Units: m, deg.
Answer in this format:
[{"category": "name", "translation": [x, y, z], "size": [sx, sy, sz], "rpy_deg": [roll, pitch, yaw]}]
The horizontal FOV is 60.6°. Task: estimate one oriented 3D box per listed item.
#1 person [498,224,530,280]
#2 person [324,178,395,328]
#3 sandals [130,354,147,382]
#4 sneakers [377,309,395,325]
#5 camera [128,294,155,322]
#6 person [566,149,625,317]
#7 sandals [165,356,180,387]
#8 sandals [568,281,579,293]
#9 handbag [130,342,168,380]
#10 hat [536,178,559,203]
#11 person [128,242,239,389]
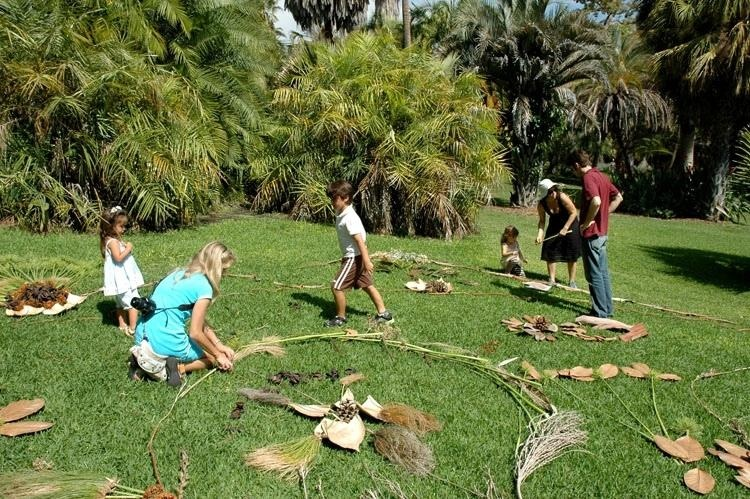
[{"category": "person", "translation": [2.540, 0.034, 11.758], "size": [0.494, 0.929, 0.426], "rpy_deg": [10, 18, 34]}, {"category": "person", "translation": [-0.222, 0.070, 9.069], "size": [0.943, 2.009, 0.688], "rpy_deg": [5, 8, 2]}, {"category": "sandals", "translation": [-2.906, 1.450, 7.788], "size": [0.193, 0.246, 0.260], "rpy_deg": [-1, 1, -41]}, {"category": "sneakers", "translation": [0.138, 0.966, 9.070], "size": [0.287, 0.142, 0.117], "rpy_deg": [2, 0, -2]}, {"category": "camera", "translation": [-2.780, 0.703, 7.688], "size": [0.209, 0.149, 0.314], "rpy_deg": [35, -14, 26]}, {"category": "person", "translation": [3.406, -0.222, 9.804], "size": [0.812, 2.465, 0.684], "rpy_deg": [1, 9, -29]}, {"category": "sandals", "translation": [-2.418, 1.477, 7.764], "size": [0.151, 0.379, 0.154], "rpy_deg": [-9, -7, -12]}, {"category": "sandals", "translation": [3.466, 0.651, 11.238], "size": [0.111, 0.151, 0.346], "rpy_deg": [-5, -13, 18]}, {"category": "handbag", "translation": [-2.754, 1.257, 7.811], "size": [0.377, 0.185, 0.350], "rpy_deg": [26, -17, 16]}, {"category": "hat", "translation": [2.908, -1.004, 10.834], "size": [0.351, 0.338, 0.171], "rpy_deg": [11, 10, 35]}, {"category": "person", "translation": [-2.361, 0.805, 7.951], "size": [1.068, 1.716, 1.233], "rpy_deg": [21, 16, 39]}]
